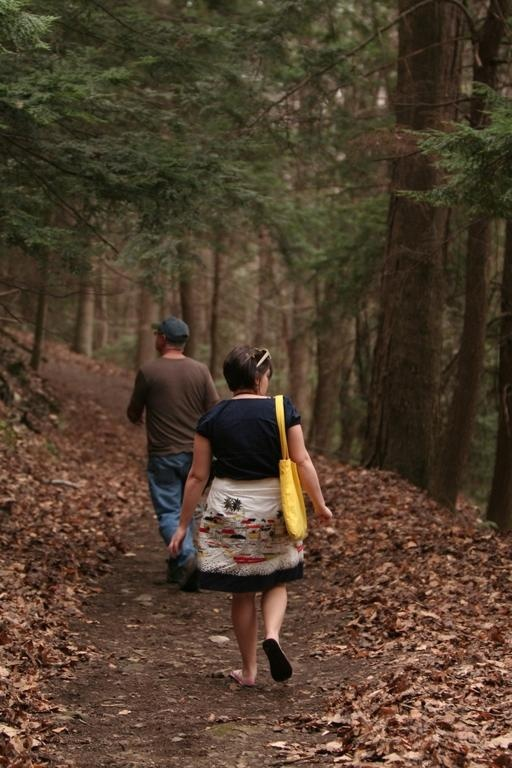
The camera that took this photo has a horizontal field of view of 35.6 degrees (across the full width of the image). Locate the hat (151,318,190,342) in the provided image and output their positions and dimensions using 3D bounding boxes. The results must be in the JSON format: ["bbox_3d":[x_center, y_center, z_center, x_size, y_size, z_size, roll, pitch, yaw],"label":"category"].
[{"bbox_3d":[-0.671,-0.446,6.185,0.258,0.141,0.171,34,39,20],"label":"hat"}]

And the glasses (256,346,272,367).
[{"bbox_3d":[0.042,-0.146,4.319,0.038,0.096,0.074,25,9,-8],"label":"glasses"}]

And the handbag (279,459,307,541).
[{"bbox_3d":[0.190,0.628,4.222,0.117,0.479,0.204,-5,5,23],"label":"handbag"}]

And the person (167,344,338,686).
[{"bbox_3d":[-0.044,0.784,4.396,0.560,1.979,0.768,-10,6,-42],"label":"person"}]
